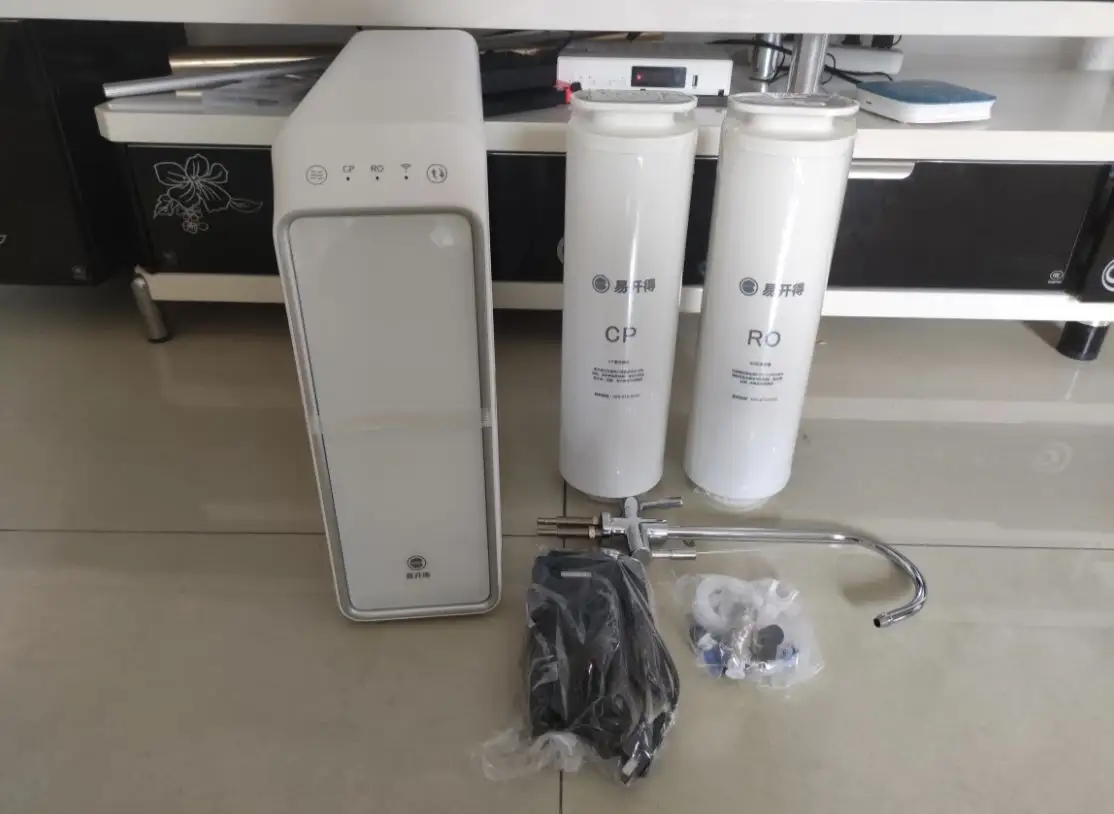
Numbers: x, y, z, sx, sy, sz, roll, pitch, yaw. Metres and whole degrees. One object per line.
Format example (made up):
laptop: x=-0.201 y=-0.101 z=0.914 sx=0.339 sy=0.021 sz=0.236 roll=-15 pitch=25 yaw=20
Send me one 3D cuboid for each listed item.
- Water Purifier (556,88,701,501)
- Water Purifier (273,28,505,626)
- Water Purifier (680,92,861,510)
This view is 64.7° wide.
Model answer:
Water Purifier: x=0.075 y=-0.142 z=1.125 sx=0.150 sy=0.464 sz=0.210 roll=1 pitch=32 yaw=2
Water Purifier: x=-0.170 y=-0.022 z=0.946 sx=0.205 sy=0.524 sz=0.152 roll=-4 pitch=33 yaw=-6
Water Purifier: x=0.259 y=-0.118 z=1.115 sx=0.153 sy=0.504 sz=0.161 roll=7 pitch=33 yaw=11
